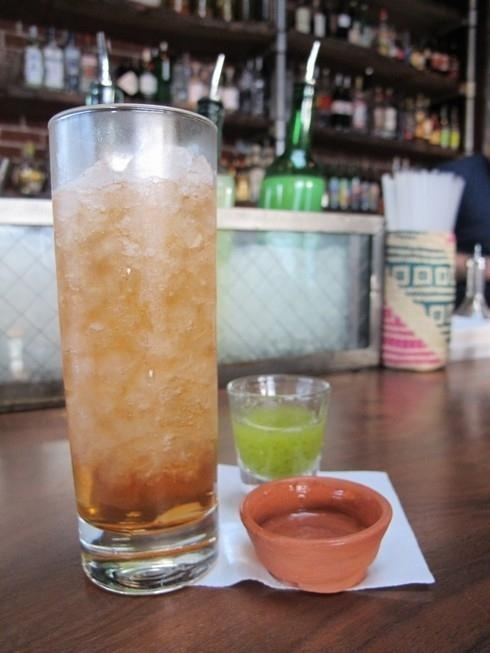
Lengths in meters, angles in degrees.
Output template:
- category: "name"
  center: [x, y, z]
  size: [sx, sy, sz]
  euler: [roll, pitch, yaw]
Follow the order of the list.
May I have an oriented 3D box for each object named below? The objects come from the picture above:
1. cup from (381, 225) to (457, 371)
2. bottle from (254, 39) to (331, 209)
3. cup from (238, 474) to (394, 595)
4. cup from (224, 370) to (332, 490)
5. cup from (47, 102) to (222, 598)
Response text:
- category: "cup"
  center: [0.258, -0.036, 0.983]
  size: [0.103, 0.208, 0.066]
  euler: [0, 9, 12]
- category: "bottle"
  center: [0.065, -0.299, 0.978]
  size: [0.106, 0.260, 0.300]
  euler: [-1, 9, 4]
- category: "cup"
  center: [0.038, 0.120, 0.377]
  size: [0.082, 0.034, 0.081]
  euler: [-1, 12, 0]
- category: "cup"
  center: [0.030, 0.086, 0.531]
  size: [0.083, 0.079, 0.080]
  euler: [-2, 5, 0]
- category: "cup"
  center: [-0.054, 0.014, 0.360]
  size: [0.084, 0.259, 0.052]
  euler: [-3, 9, -11]
